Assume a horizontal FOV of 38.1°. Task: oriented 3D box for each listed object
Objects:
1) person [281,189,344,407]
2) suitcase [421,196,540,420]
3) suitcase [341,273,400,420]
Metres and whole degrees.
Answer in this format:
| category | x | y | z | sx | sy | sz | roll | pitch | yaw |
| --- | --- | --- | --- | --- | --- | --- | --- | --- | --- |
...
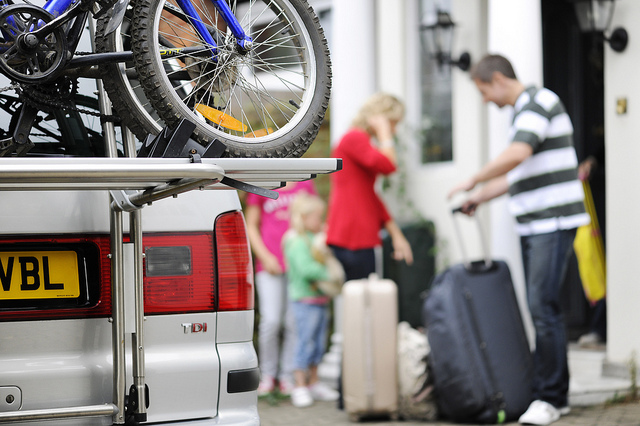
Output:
| category | x | y | z | sx | sy | sz | roll | pitch | yaw |
| --- | --- | --- | --- | --- | --- | --- | --- | --- | --- |
| person | -0.060 | 0.682 | 7.903 | 0.497 | 1.789 | 0.984 | -4 | -2 | -1 |
| suitcase | 1.085 | 0.858 | 6.353 | 0.747 | 1.033 | 0.254 | -4 | -2 | 10 |
| suitcase | 0.359 | 1.009 | 6.724 | 0.469 | 1.492 | 0.812 | 0 | -8 | 7 |
